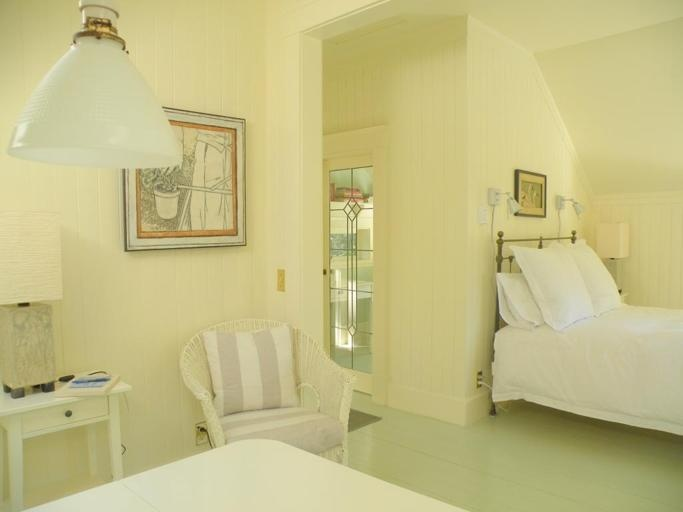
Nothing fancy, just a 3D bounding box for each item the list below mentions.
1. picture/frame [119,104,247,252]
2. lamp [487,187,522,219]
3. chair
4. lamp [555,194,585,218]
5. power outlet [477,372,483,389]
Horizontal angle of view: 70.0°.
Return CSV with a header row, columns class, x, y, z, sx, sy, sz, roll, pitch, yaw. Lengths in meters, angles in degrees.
class,x,y,z,sx,sy,sz,roll,pitch,yaw
picture/frame,-0.852,-0.393,2.593,0.059,0.944,0.860,5,5,45
lamp,1.312,-0.442,4.012,0.332,0.265,0.166,-2,-1,28
chair,-0.454,0.671,2.721,0.805,0.694,0.722,1,-4,-28
lamp,2.259,-0.483,4.833,0.265,0.212,0.184,-1,-1,26
power outlet,1.097,0.986,3.886,0.032,0.152,0.091,4,9,37
